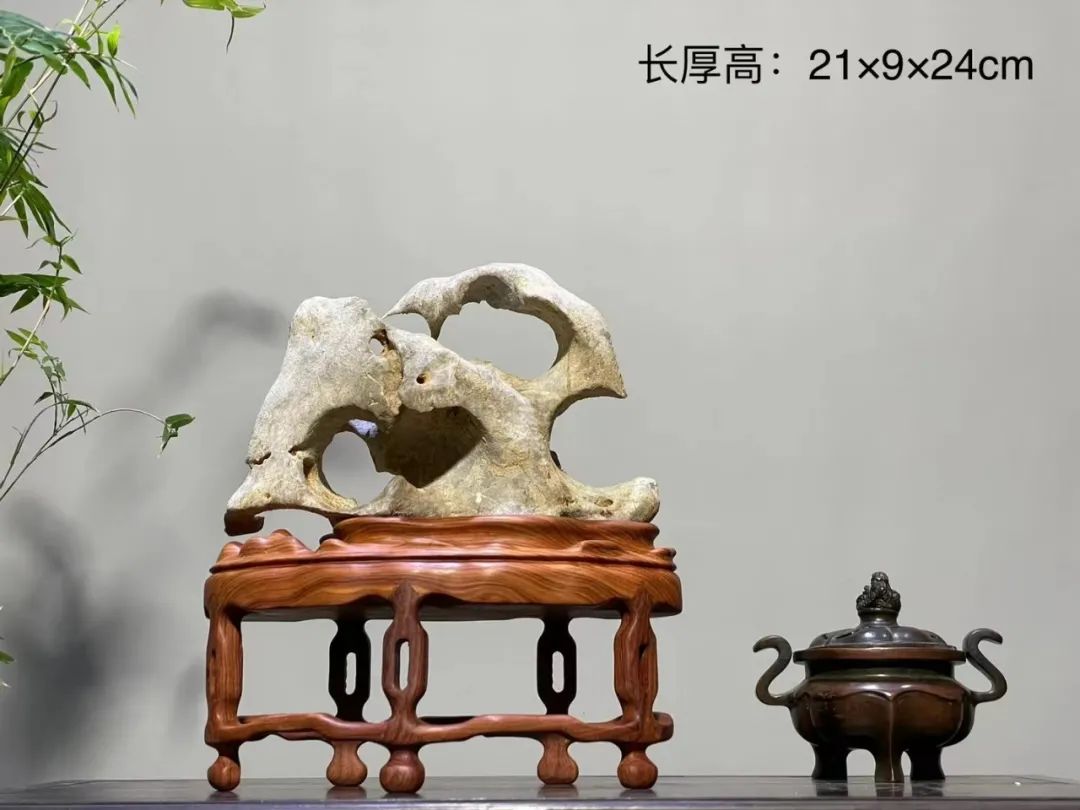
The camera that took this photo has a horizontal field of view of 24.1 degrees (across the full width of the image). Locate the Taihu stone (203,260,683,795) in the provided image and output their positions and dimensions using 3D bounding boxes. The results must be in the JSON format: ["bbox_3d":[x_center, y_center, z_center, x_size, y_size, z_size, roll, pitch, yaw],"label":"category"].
[{"bbox_3d":[-0.224,0.280,5.589,1.046,1.161,1.054,-2,-5,10],"label":"Taihu stone"}]

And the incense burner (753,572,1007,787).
[{"bbox_3d":[0.759,0.623,5.654,0.576,0.445,0.410,0,-8,0],"label":"incense burner"}]
